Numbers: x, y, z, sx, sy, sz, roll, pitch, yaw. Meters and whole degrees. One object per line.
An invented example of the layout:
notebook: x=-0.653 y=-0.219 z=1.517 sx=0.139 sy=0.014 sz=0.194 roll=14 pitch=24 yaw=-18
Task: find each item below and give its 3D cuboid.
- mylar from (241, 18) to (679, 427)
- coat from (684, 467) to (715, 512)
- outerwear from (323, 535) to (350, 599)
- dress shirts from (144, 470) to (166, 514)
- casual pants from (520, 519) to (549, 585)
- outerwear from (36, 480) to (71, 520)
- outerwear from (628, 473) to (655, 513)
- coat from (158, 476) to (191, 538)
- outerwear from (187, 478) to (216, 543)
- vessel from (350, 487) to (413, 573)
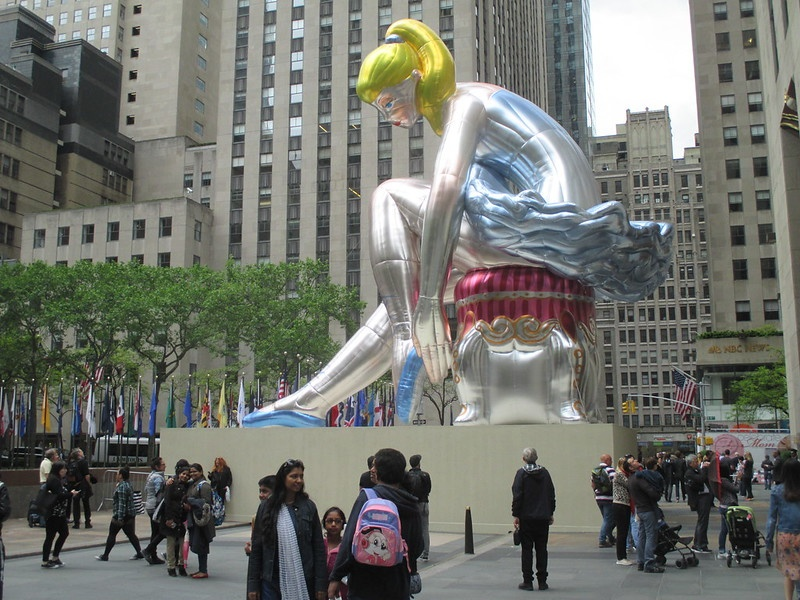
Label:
mylar: x=1.847 y=-2.793 z=48.247 sx=17.680 sy=16.320 sz=10.154 roll=-2 pitch=-9 yaw=7
coat: x=10.477 y=6.661 z=41.483 sx=0.821 sy=2.349 sz=0.786 roll=-8 pitch=-6 yaw=17
outerwear: x=-1.885 y=7.975 z=34.557 sx=0.988 sy=1.447 sz=1.332 roll=-4 pitch=12 yaw=6
dress shirts: x=-8.616 y=6.738 z=41.305 sx=0.699 sy=1.496 sz=1.326 roll=3 pitch=-8 yaw=-24
casual pants: x=4.227 y=8.088 z=38.722 sx=0.967 sy=2.277 sz=0.694 roll=7 pitch=-28 yaw=-33
outerwear: x=-12.052 y=6.721 z=40.548 sx=1.133 sy=1.451 sz=0.991 roll=14 pitch=-9 yaw=-15
outerwear: x=8.133 y=6.406 z=39.567 sx=0.855 sy=1.408 sz=1.114 roll=-4 pitch=-7 yaw=-26
coat: x=-7.746 y=6.913 z=40.077 sx=0.823 sy=2.045 sz=1.100 roll=7 pitch=6 yaw=17
outerwear: x=-6.855 y=7.204 z=39.869 sx=0.813 sy=2.441 sz=1.103 roll=9 pitch=-21 yaw=-38
vessel: x=-0.652 y=6.663 z=34.434 sx=2.158 sy=2.942 sz=1.664 roll=1 pitch=-1 yaw=-1
